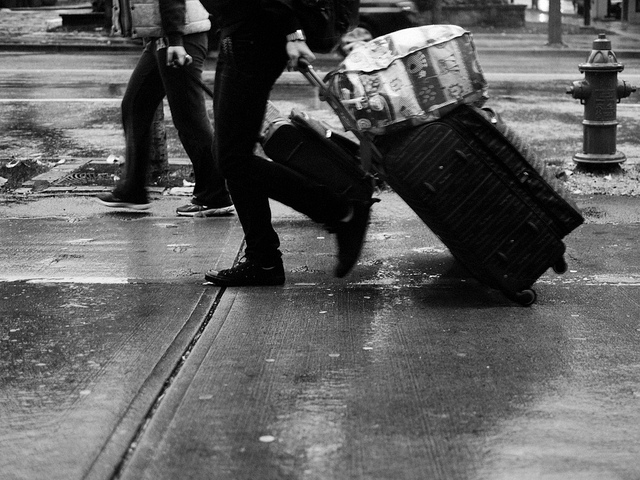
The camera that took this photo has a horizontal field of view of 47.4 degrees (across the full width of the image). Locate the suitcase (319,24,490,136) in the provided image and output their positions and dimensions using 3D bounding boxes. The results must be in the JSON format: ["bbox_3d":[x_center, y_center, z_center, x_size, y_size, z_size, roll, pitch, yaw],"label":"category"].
[{"bbox_3d":[0.405,-0.798,3.715,0.739,0.367,0.529,-17,6,8],"label":"suitcase"}]

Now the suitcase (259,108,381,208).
[{"bbox_3d":[0.024,-0.480,4.164,0.712,0.230,0.521,29,17,4],"label":"suitcase"}]

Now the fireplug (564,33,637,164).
[{"bbox_3d":[2.529,-1.229,6.539,0.587,1.163,0.394,0,17,14],"label":"fireplug"}]

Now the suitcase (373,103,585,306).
[{"bbox_3d":[0.798,-0.142,3.924,0.754,1.111,0.732,-35,-3,-43],"label":"suitcase"}]
